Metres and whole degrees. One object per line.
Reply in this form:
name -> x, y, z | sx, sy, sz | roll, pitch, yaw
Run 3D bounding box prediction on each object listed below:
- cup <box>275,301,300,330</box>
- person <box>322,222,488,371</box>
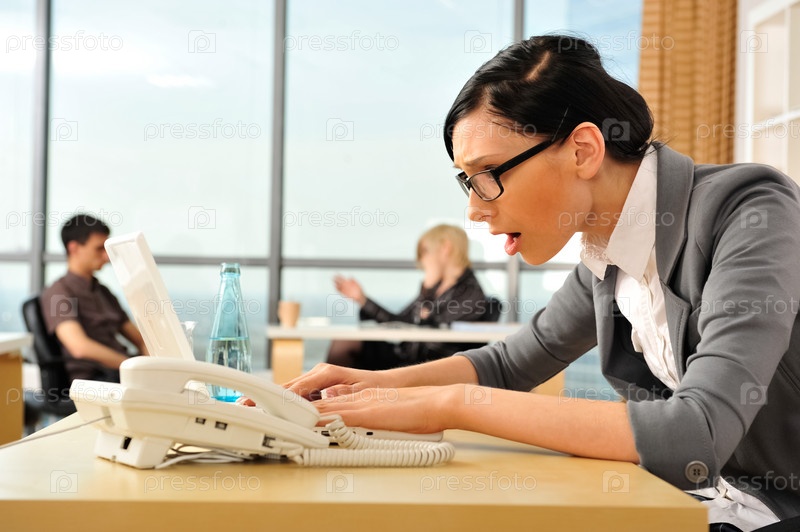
cup -> -0.658, 0.302, 4.410 | 0.141, 0.156, 0.140 | 2, -7, 0
person -> 0.052, 0.185, 4.666 | 0.624, 0.314, 0.842 | 14, 37, 4
